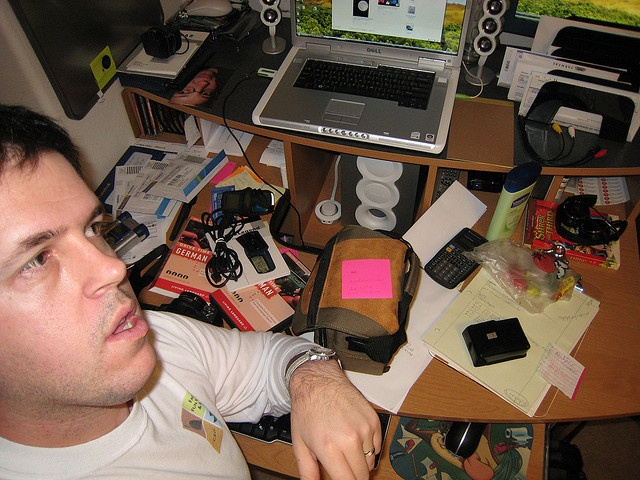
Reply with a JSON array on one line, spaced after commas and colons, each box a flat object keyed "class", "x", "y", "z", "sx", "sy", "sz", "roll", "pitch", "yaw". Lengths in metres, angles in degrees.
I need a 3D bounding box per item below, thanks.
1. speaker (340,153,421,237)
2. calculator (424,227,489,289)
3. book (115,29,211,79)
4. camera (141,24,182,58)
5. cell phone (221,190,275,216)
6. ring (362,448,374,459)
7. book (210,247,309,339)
[{"class": "speaker", "x": 0.233, "y": -0.238, "z": 1.857, "sx": 0.276, "sy": 0.287, "sz": 0.266, "roll": 11, "pitch": 44, "yaw": 11}, {"class": "calculator", "x": 0.442, "y": 0.059, "z": 1.557, "sx": 0.124, "sy": 0.038, "sz": 0.228, "roll": 34, "pitch": 66, "yaw": 24}, {"class": "book", "x": -0.577, "y": -0.687, "z": 1.780, "sx": 0.225, "sy": 0.053, "sz": 0.181, "roll": 13, "pitch": 48, "yaw": 11}, {"class": "camera", "x": -0.603, "y": -0.737, "z": 1.761, "sx": 0.129, "sy": 0.107, "sz": 0.141, "roll": 11, "pitch": 33, "yaw": -5}, {"class": "cell phone", "x": -0.262, "y": -0.140, "z": 1.800, "sx": 0.163, "sy": 0.054, "sz": 0.103, "roll": 4, "pitch": 68, "yaw": -25}, {"class": "ring", "x": 0.116, "y": 0.495, "z": 1.123, "sx": 0.008, "sy": 0.019, "sz": 0.019, "roll": 44, "pitch": 95, "yaw": -3}, {"class": "book", "x": -0.174, "y": 0.170, "z": 1.568, "sx": 0.214, "sy": 0.051, "sz": 0.219, "roll": 24, "pitch": 67, "yaw": 10}]
